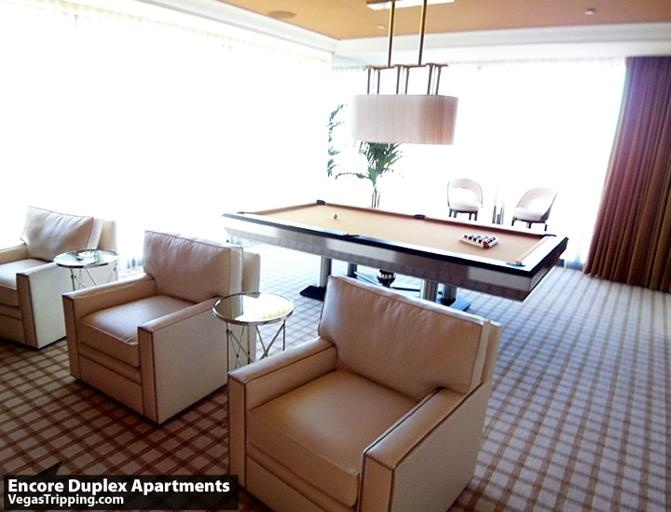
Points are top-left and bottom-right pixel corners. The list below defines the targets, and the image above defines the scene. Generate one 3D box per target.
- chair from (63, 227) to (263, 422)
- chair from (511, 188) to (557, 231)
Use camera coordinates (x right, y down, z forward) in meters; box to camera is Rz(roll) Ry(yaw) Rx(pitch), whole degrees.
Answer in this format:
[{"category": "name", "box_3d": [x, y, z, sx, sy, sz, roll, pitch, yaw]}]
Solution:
[{"category": "chair", "box_3d": [-1.341, 0.456, 3.777, 1.111, 1.088, 1.161, -14, 23, -43]}, {"category": "chair", "box_3d": [2.562, -0.523, 6.423, 0.521, 0.667, 0.520, 10, 22, 25]}]
